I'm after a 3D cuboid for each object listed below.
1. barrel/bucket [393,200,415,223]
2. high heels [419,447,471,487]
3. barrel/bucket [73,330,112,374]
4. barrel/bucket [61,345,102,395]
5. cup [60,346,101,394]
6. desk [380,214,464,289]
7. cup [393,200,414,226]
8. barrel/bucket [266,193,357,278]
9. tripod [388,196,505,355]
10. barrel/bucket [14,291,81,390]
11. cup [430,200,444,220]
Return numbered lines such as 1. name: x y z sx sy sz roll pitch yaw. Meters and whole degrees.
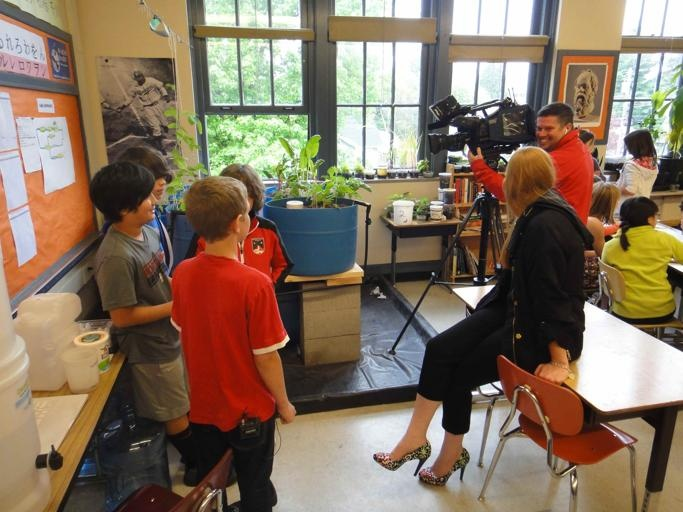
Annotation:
1. barrel/bucket: 0.613 -0.443 5.101 0.215 0.204 0.216 0 8 0
2. high heels: 0.551 1.188 2.981 0.328 0.232 0.166 -2 4 -3
3. barrel/bucket: -1.141 0.434 2.453 0.180 0.174 0.172 1 10 0
4. barrel/bucket: -1.159 0.502 2.300 0.157 0.194 0.192 1 9 0
5. cup: -1.158 0.501 2.303 0.157 0.194 0.192 1 8 -2
6. desk: 0.717 -0.217 5.464 0.977 0.907 0.652 -2 13 -8
7. cup: 0.613 -0.421 5.107 0.226 0.215 0.228 0 8 0
8. barrel/bucket: -0.220 -0.155 3.547 0.529 0.377 0.523 0 13 0
9. tripod: 0.866 0.125 4.371 0.925 1.156 0.803 12 33 7
10. barrel/bucket: -1.280 0.379 2.241 0.215 0.353 0.371 2 8 -3
11. cup: 0.955 -0.451 5.187 0.161 0.165 0.171 -1 10 0
